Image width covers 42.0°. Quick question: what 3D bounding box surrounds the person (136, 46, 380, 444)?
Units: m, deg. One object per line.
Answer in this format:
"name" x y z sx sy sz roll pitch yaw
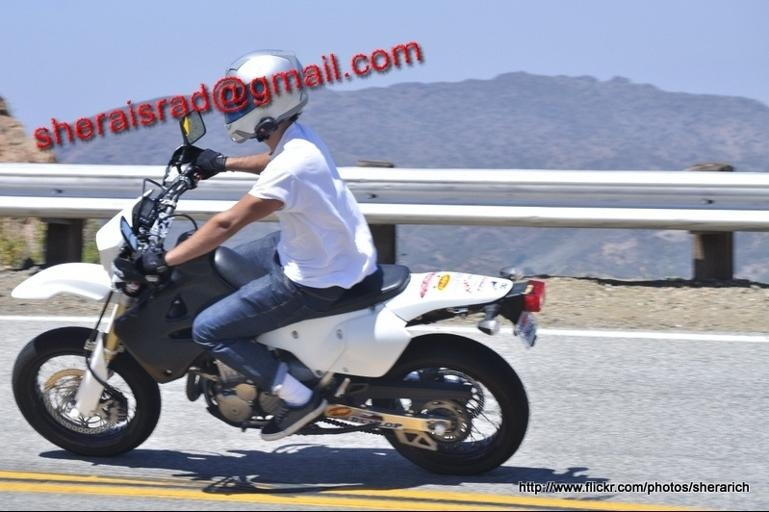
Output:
"person" -0.813 -0.062 7.670 1.521 2.961 0.491 -3 10 -1

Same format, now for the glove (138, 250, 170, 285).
"glove" -1.681 0.071 7.544 0.184 0.250 0.220 5 11 41
